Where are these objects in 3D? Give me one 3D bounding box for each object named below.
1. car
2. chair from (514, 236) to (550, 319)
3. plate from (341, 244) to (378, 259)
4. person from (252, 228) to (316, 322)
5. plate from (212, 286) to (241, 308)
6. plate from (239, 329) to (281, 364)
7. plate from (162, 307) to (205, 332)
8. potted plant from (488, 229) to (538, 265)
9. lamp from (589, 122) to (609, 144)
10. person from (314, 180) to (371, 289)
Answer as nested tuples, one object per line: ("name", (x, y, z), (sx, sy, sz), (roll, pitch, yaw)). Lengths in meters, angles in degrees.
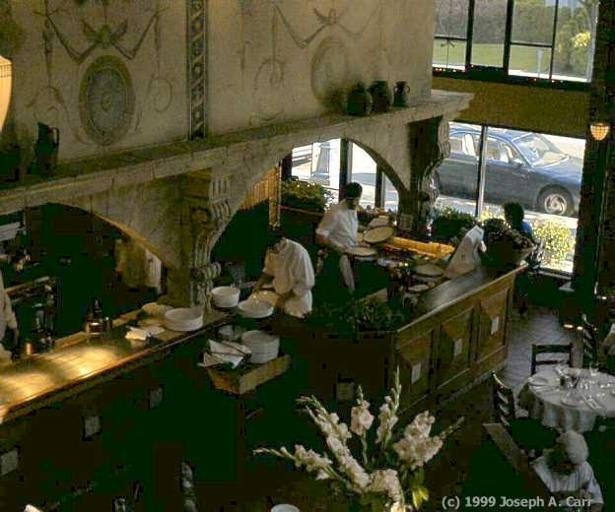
("car", (3.574, -1.761, 12.824), (2.939, 1.028, 1.374), (8, 20, 22))
("chair", (3.784, 0.257, 11.591), (0.347, 1.439, 0.775), (14, -5, -26))
("plate", (0.770, -0.078, 9.777), (0.457, 0.113, 0.638), (4, 11, 6))
("person", (-0.302, 0.181, 8.219), (0.741, 0.939, 0.785), (5, 10, 13))
("plate", (-0.898, 0.444, 7.394), (0.322, 0.185, 0.305), (-1, 11, -21))
("plate", (-0.459, 0.855, 6.756), (0.278, 0.193, 0.290), (-8, 20, -27))
("plate", (-1.263, 0.633, 6.902), (0.408, 0.195, 0.338), (1, 11, -11))
("potted plant", (2.762, -0.113, 9.261), (0.607, 0.461, 0.302), (6, 10, 17))
("lamp", (4.176, -1.749, 9.648), (0.248, 0.306, 0.269), (-2, 9, -5))
("person", (0.434, -0.311, 9.766), (0.604, 1.495, 0.825), (3, 9, 4))
